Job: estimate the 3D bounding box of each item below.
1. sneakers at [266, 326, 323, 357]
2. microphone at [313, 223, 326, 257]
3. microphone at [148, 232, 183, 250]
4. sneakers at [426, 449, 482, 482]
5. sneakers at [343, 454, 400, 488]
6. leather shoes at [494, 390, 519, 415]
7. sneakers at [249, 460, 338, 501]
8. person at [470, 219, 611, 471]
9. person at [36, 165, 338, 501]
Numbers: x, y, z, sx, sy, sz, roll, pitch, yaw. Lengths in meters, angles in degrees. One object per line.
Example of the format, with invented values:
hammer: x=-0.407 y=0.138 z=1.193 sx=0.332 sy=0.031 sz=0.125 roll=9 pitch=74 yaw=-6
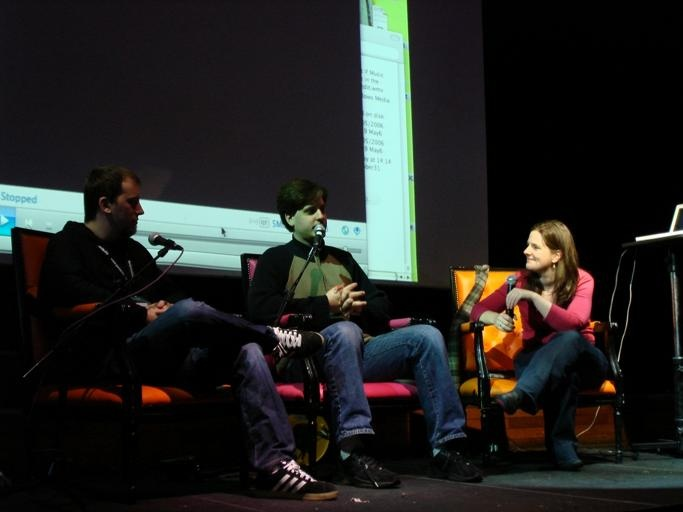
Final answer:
sneakers: x=-0.178 y=0.331 z=2.499 sx=0.261 sy=0.116 sz=0.090 roll=-4 pitch=38 yaw=-6
microphone: x=-0.094 y=-0.084 z=2.841 sx=0.047 sy=0.052 sz=0.156 roll=3 pitch=37 yaw=7
microphone: x=-0.837 y=-0.074 z=2.898 sx=0.158 sy=0.056 sz=0.056 roll=22 pitch=37 yaw=24
sneakers: x=0.477 y=0.886 z=2.607 sx=0.111 sy=0.098 sz=0.223 roll=10 pitch=-13 yaw=-44
sneakers: x=0.102 y=0.869 z=2.504 sx=0.252 sy=0.113 sz=0.112 roll=-4 pitch=-7 yaw=33
leather shoes: x=0.797 y=0.699 z=2.933 sx=0.122 sy=0.075 sz=0.050 roll=5 pitch=-6 yaw=-37
sneakers: x=-0.191 y=0.872 z=2.394 sx=0.370 sy=0.163 sz=0.130 roll=-1 pitch=-15 yaw=8
person: x=1.039 y=0.417 z=3.188 sx=0.678 sy=1.235 sz=0.531 roll=0 pitch=-2 yaw=-8
person: x=-0.650 y=0.543 z=3.263 sx=1.550 sy=1.943 sz=0.983 roll=-10 pitch=-18 yaw=14
